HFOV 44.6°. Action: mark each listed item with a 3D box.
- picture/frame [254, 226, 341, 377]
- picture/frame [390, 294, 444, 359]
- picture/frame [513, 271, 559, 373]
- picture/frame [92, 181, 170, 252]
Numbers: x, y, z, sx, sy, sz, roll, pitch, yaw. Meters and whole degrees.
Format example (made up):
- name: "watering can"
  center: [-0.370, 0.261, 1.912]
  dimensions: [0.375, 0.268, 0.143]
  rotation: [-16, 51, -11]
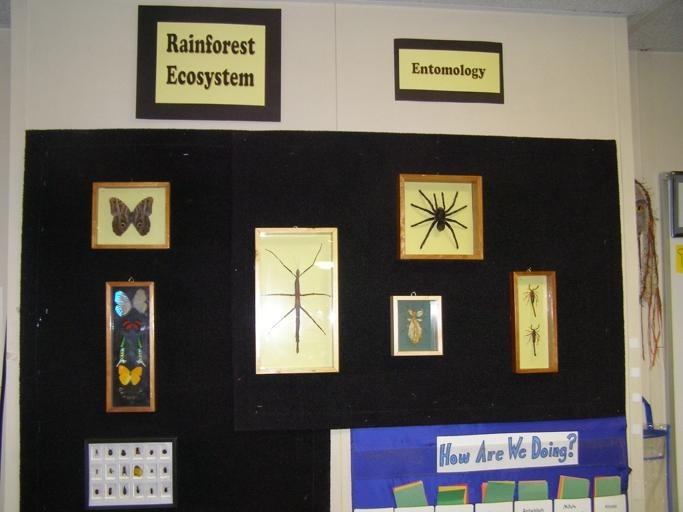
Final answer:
- name: "picture/frame"
  center: [-0.235, 0.226, 4.333]
  dimensions: [0.423, 0.740, 0.094]
  rotation: [0, -6, -11]
- name: "picture/frame"
  center: [0.385, 0.377, 4.364]
  dimensions: [0.282, 0.382, 0.025]
  rotation: [0, -7, -7]
- name: "picture/frame"
  center: [1.016, 0.341, 4.404]
  dimensions: [0.230, 0.528, 0.069]
  rotation: [1, -6, -14]
- name: "picture/frame"
  center: [-1.099, -0.192, 4.325]
  dimensions: [0.303, 0.304, 0.025]
  rotation: [-1, -1, 1]
